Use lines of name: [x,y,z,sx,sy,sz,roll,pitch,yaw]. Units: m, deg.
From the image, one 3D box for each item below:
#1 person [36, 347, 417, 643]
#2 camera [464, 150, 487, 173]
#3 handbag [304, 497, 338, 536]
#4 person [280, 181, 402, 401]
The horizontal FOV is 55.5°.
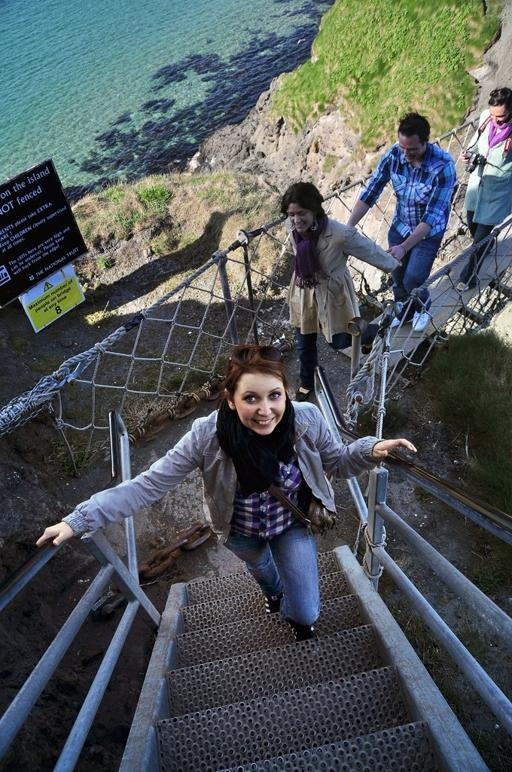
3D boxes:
person: [-0.068,0.527,1.704,1.150,1.233,0.388,-11,34,-8]
camera: [1.910,-1.934,4.235,0.220,0.091,0.214,-3,63,-18]
handbag: [0.213,0.450,1.710,0.102,0.071,0.134,-18,71,-32]
person: [0.660,-0.720,3.546,0.776,1.506,0.804,-4,33,5]
